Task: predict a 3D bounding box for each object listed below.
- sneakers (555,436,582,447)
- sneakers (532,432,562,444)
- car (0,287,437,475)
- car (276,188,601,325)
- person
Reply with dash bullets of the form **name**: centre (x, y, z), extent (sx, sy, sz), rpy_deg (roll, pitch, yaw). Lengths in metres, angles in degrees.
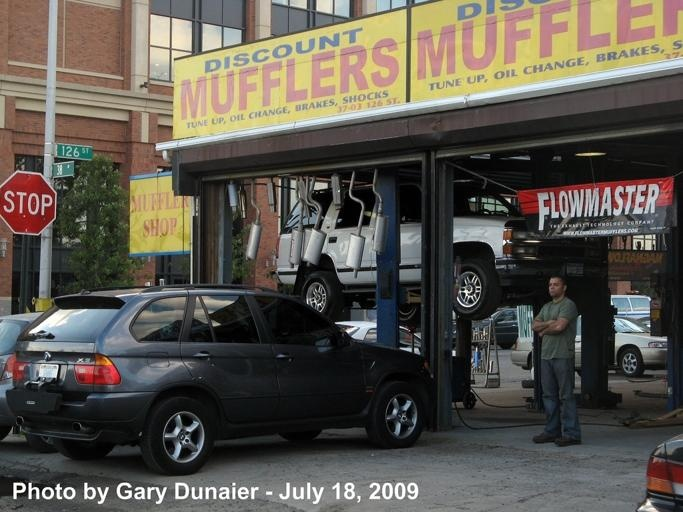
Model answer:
- **sneakers**: centre (3.224, 2.627, 11.904), extent (0.375, 0.164, 0.134), rpy_deg (7, -8, -27)
- **sneakers**: centre (2.968, 2.616, 12.090), extent (0.410, 0.181, 0.153), rpy_deg (4, -6, -8)
- **car**: centre (-1.476, 1.431, 11.190), extent (4.939, 1.959, 2.179), rpy_deg (-1, -3, -39)
- **car**: centre (1.251, -0.127, 16.490), extent (5.415, 2.586, 2.820), rpy_deg (-7, -8, 40)
- **person**: centre (3.084, 1.492, 12.100), extent (0.648, 2.383, 0.550), rpy_deg (-1, -1, 30)
